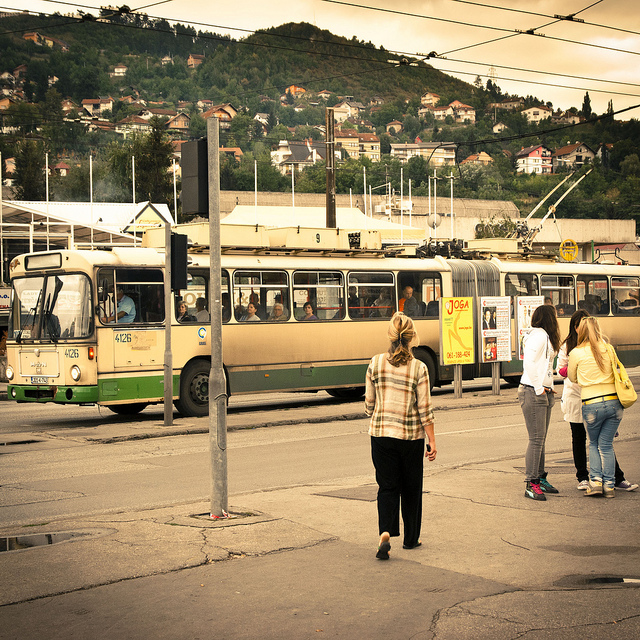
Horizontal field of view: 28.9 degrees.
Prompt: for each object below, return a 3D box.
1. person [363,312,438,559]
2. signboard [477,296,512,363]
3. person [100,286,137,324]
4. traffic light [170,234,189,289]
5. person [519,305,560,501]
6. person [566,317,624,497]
[{"bbox_3d":[0.651,0.960,10.194,0.556,1.972,0.453,-1,2,3],"label":"person"},{"bbox_3d":[3.203,0.216,22.842,1.068,1.647,0.153,-3,2,-37],"label":"signboard"},{"bbox_3d":[-3.115,-0.110,19.544,0.432,0.824,0.551,8,-14,-33],"label":"person"},{"bbox_3d":[-2.098,-0.813,18.349,0.149,0.801,0.236,0,0,44],"label":"traffic light"},{"bbox_3d":[2.147,0.809,12.208,0.394,1.866,0.708,-1,2,11],"label":"person"},{"bbox_3d":[2.713,0.869,12.241,0.455,1.738,0.484,-1,2,-1],"label":"person"}]
